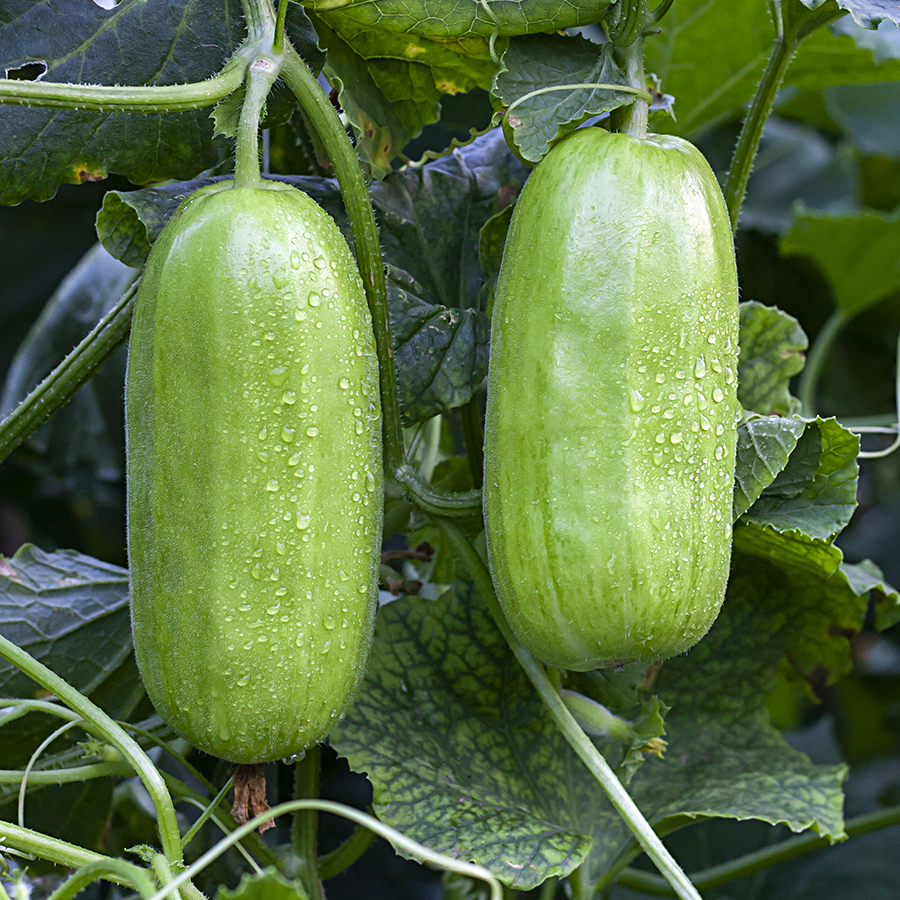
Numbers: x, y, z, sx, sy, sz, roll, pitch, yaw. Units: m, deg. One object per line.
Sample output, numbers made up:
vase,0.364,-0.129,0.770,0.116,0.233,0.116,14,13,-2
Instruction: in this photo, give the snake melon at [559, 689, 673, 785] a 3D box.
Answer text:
snake melon,0.115,0.188,0.837,0.048,0.054,0.069,-29,45,-28
